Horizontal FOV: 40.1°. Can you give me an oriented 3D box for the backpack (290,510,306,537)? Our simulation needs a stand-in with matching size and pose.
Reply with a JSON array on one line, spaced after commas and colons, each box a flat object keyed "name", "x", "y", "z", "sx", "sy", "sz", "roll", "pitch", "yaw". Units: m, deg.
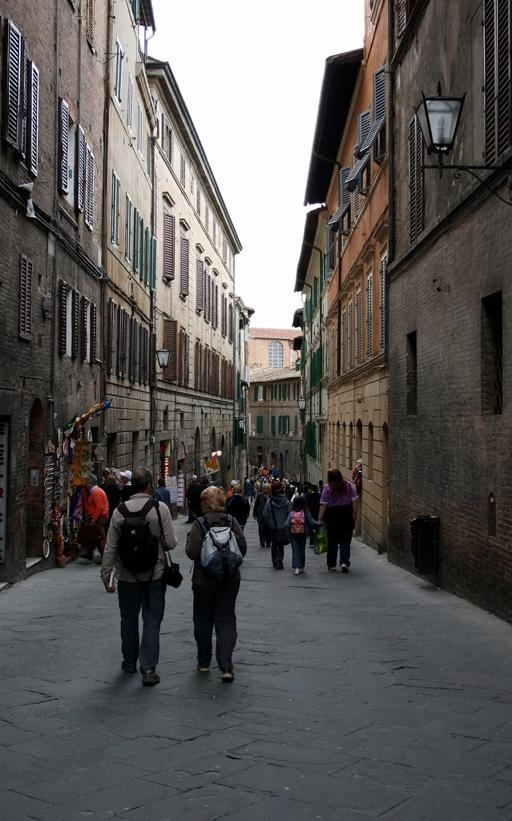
[{"name": "backpack", "x": 0.709, "y": 1.899, "z": 12.074, "sx": 0.232, "sy": 0.685, "sz": 0.279, "roll": 1, "pitch": 0, "yaw": 10}]

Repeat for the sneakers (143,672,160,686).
[{"name": "sneakers", "x": -0.714, "y": 1.827, "z": 4.766, "sx": 0.121, "sy": 0.083, "sz": 0.172, "roll": 1, "pitch": -8, "yaw": -10}]

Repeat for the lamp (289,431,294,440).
[{"name": "lamp", "x": 3.652, "y": 2.421, "z": 72.923, "sx": 0.443, "sy": 1.146, "sz": 0.602, "roll": 3, "pitch": 11, "yaw": 5}]

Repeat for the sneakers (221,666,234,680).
[{"name": "sneakers", "x": -0.199, "y": 1.847, "z": 4.898, "sx": 0.085, "sy": 0.092, "sz": 0.156, "roll": 0, "pitch": -8, "yaw": -4}]

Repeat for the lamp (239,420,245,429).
[{"name": "lamp", "x": -1.207, "y": 1.051, "z": 58.444, "sx": 0.396, "sy": 0.954, "sz": 0.492, "roll": 3, "pitch": 19, "yaw": 4}]

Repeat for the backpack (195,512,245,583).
[{"name": "backpack", "x": -0.272, "y": 0.971, "z": 5.114, "sx": 0.266, "sy": 0.733, "sz": 0.349, "roll": 2, "pitch": -28, "yaw": -14}]

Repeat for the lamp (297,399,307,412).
[{"name": "lamp", "x": 3.059, "y": -0.443, "z": 46.409, "sx": 0.472, "sy": 1.206, "sz": 0.672, "roll": 1, "pitch": 13, "yaw": -1}]

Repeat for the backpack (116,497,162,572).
[{"name": "backpack", "x": -0.821, "y": 0.891, "z": 5.058, "sx": 0.233, "sy": 0.593, "sz": 0.277, "roll": -11, "pitch": 12, "yaw": -22}]
